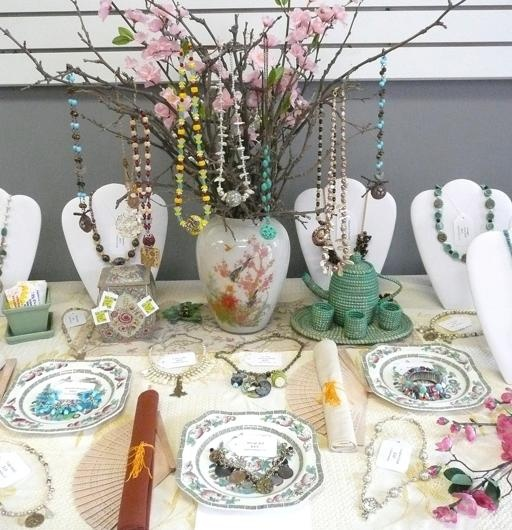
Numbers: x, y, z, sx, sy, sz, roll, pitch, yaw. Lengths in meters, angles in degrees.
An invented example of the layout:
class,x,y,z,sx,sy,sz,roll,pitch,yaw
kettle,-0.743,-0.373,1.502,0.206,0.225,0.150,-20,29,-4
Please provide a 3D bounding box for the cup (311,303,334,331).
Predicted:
class,x,y,z,sx,sy,sz,roll,pitch,yaw
cup,0.168,0.147,1.335,0.080,0.072,0.074,-1,17,0

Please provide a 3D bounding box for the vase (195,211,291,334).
class,x,y,z,sx,sy,sz,roll,pitch,yaw
vase,-0.081,0.022,1.338,0.310,0.312,0.299,-5,11,-27

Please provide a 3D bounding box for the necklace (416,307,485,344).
class,x,y,z,sx,sy,sz,roll,pitch,yaw
necklace,0.536,0.172,1.318,0.118,0.014,0.092,-10,20,3

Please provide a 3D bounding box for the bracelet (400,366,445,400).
class,x,y,z,sx,sy,sz,roll,pitch,yaw
bracelet,0.385,0.262,1.053,0.090,0.029,0.100,13,30,41

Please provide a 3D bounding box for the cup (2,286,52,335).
class,x,y,z,sx,sy,sz,roll,pitch,yaw
cup,-0.608,0.125,1.262,0.096,0.071,0.105,0,20,0

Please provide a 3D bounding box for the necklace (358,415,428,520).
class,x,y,z,sx,sy,sz,roll,pitch,yaw
necklace,0.247,0.370,0.867,0.112,0.020,0.255,6,29,30

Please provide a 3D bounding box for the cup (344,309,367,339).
class,x,y,z,sx,sy,sz,roll,pitch,yaw
cup,0.254,0.153,1.252,0.075,0.064,0.069,0,18,0

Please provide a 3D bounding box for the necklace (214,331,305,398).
class,x,y,z,sx,sy,sz,roll,pitch,yaw
necklace,0.013,0.260,1.186,0.213,0.049,0.249,-9,4,5

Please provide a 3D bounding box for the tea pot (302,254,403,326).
class,x,y,z,sx,sy,sz,roll,pitch,yaw
tea pot,0.276,0.066,1.335,0.265,0.185,0.139,2,14,2
